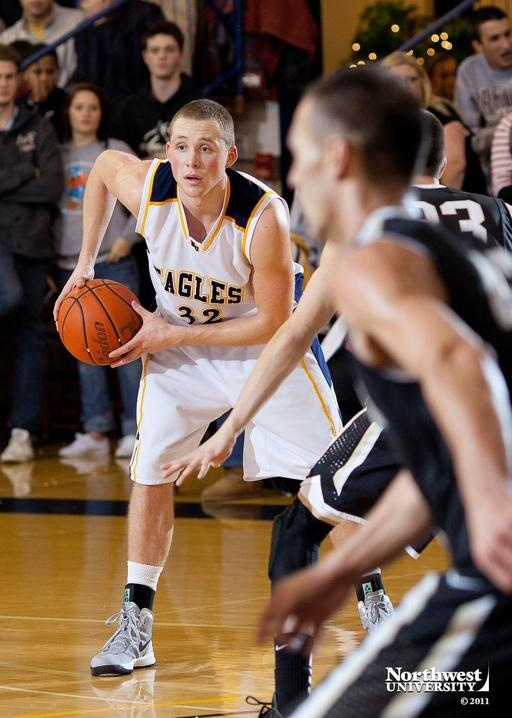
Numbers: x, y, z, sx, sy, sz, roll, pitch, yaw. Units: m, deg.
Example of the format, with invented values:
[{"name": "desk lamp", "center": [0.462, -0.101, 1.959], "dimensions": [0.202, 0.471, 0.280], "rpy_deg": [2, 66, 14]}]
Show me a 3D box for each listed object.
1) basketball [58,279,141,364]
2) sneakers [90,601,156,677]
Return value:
[{"name": "basketball", "center": [-0.457, -0.120, 2.155], "dimensions": [0.276, 0.253, 0.262], "rpy_deg": [1, 5, 13]}, {"name": "sneakers", "center": [-0.335, 0.713, 1.763], "dimensions": [0.088, 0.141, 0.232], "rpy_deg": [-5, -14, 18]}]
